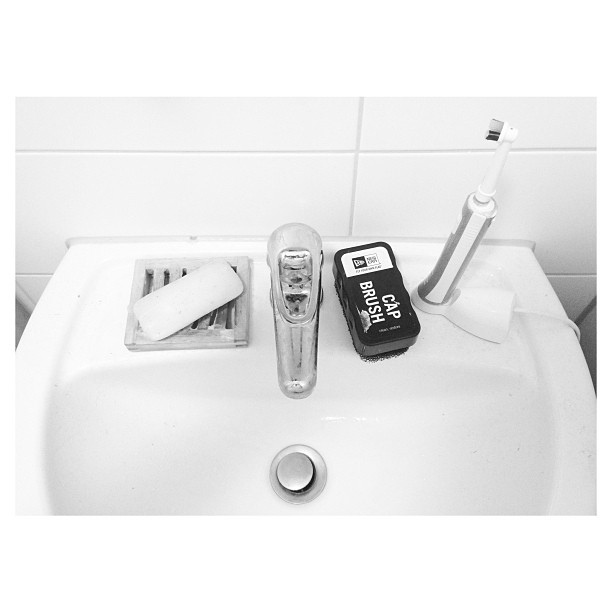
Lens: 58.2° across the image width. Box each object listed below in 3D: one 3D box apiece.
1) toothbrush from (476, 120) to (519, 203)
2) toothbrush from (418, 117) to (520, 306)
[{"bbox_3d":[0.182,-0.141,0.525,0.029,0.092,0.026,6,54,6],"label":"toothbrush"},{"bbox_3d":[0.150,-0.077,0.525,0.052,0.191,0.051,-6,39,-35],"label":"toothbrush"}]
